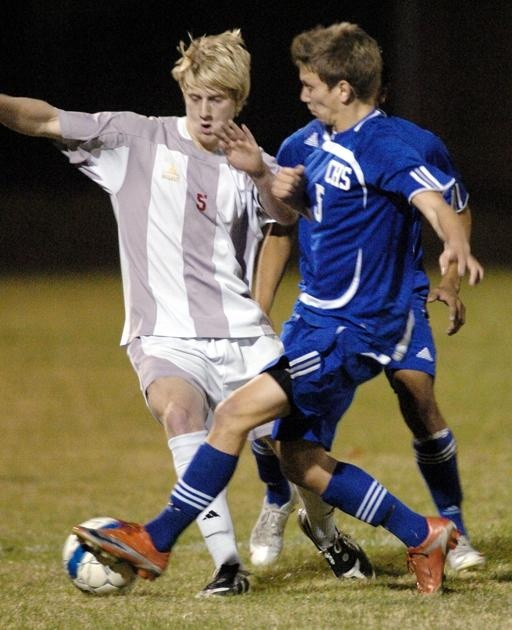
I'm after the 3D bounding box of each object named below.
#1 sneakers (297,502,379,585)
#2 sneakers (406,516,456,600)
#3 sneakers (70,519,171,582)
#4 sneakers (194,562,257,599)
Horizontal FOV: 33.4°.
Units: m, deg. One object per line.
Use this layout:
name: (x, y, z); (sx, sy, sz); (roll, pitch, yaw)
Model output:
sneakers: (0.304, 0.837, 3.049); (0.127, 0.368, 0.145); (-48, -13, -5)
sneakers: (0.557, 0.758, 2.704); (0.120, 0.243, 0.136); (0, 10, 38)
sneakers: (-0.359, 0.692, 2.534); (0.124, 0.328, 0.132); (-37, 30, 53)
sneakers: (-0.085, 0.832, 2.657); (0.075, 0.075, 0.210); (-4, -7, 36)
